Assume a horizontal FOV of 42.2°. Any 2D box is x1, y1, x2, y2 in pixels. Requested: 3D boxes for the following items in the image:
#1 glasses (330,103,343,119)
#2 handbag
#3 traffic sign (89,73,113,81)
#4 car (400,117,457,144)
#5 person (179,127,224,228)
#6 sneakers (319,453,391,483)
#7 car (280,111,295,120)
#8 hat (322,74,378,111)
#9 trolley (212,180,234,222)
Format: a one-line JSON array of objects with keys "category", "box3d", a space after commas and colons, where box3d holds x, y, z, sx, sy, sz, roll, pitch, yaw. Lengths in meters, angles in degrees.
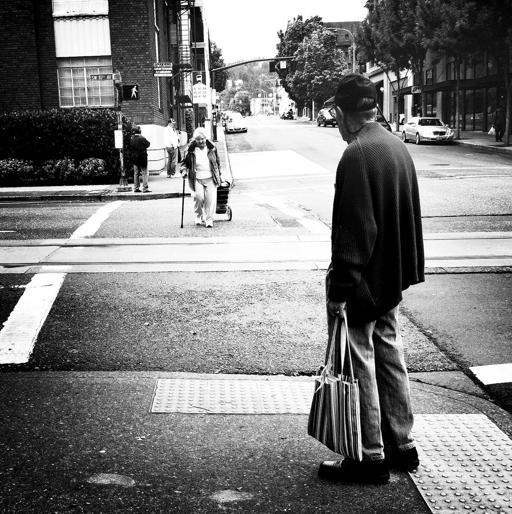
[{"category": "glasses", "box3d": [0.414, -0.750, 3.424, 0.026, 0.088, 0.058, -7, 12, -2]}, {"category": "handbag", "box3d": [0.388, 0.631, 3.281, 0.258, 0.669, 0.204, 0, 12, 5]}, {"category": "traffic sign", "box3d": [-5.435, -6.264, 23.175, 0.717, 0.252, 0.576, -7, 16, -22]}, {"category": "car", "box3d": [8.891, -6.664, 35.049, 1.158, 0.944, 2.891, -1, 13, -5]}, {"category": "person", "box3d": [-1.015, -1.479, 12.302, 0.705, 1.774, 0.778, -2, 12, -4]}, {"category": "sneakers", "box3d": [0.508, 1.067, 3.417, 0.355, 0.186, 0.143, 4, 0, 15]}, {"category": "car", "box3d": [4.658, -20.942, 98.542, 1.165, 1.910, 3.121, -2, 5, -9]}, {"category": "hat", "box3d": [0.505, -0.821, 3.388, 0.147, 0.150, 0.236, -3, 31, -3]}, {"category": "trolley", "box3d": [-0.693, -1.127, 12.772, 0.428, 0.749, 0.562, 4, 15, -4]}]
